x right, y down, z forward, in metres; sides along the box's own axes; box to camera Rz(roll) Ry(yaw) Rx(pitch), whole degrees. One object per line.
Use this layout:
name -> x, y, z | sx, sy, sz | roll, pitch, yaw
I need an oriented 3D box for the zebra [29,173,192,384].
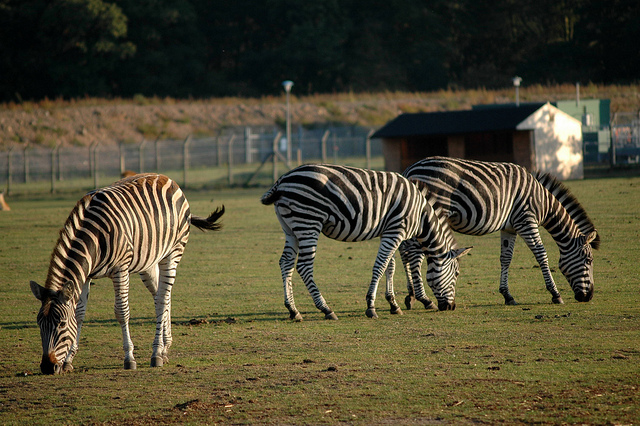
zebra -> -10.698, 3.202, 80.152 | 7.393, 10.474, 2.848 | 0, 2, -9
